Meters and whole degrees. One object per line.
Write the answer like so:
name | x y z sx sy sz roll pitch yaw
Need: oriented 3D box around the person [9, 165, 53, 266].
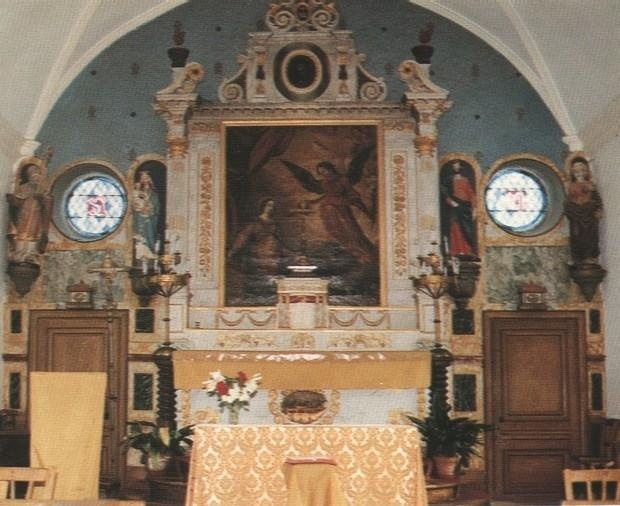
person | -3.524 -0.476 28.450 0.512 1.308 0.201 0 -14 -8

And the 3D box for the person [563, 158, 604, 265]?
person | 3.402 -0.511 28.415 0.449 1.339 0.202 -3 -14 3

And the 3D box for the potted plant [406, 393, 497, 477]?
potted plant | 1.896 2.299 28.282 1.294 0.759 1.043 5 -15 -8

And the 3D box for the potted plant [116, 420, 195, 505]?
potted plant | -2.013 2.650 28.318 1.244 0.989 1.142 -5 -8 22
